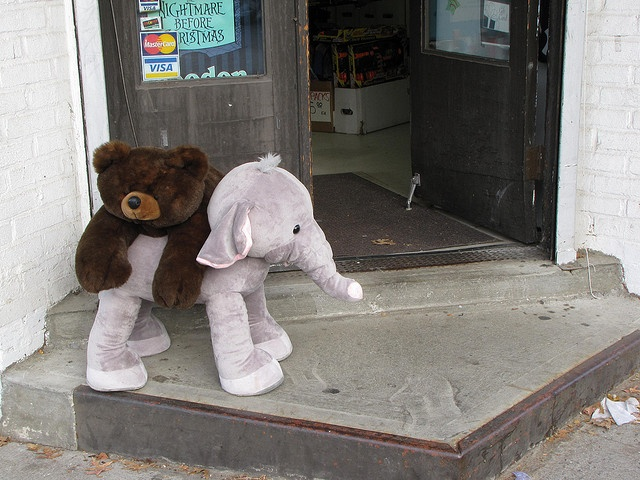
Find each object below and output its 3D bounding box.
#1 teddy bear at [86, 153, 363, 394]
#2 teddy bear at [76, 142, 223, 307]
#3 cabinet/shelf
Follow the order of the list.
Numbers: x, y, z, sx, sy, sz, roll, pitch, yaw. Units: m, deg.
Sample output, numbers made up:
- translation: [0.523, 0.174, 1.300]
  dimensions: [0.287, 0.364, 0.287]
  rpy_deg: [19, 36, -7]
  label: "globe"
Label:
- translation: [-0.515, 0.156, 2.730]
  dimensions: [1.329, 1.103, 0.810]
  rpy_deg: [2, 13, 1]
  label: "teddy bear"
- translation: [-0.765, -0.176, 2.515]
  dimensions: [0.488, 0.477, 0.843]
  rpy_deg: [6, 34, -3]
  label: "teddy bear"
- translation: [0.861, -2.549, 8.612]
  dimensions: [0.519, 1.351, 1.550]
  rpy_deg: [12, 28, 37]
  label: "cabinet/shelf"
